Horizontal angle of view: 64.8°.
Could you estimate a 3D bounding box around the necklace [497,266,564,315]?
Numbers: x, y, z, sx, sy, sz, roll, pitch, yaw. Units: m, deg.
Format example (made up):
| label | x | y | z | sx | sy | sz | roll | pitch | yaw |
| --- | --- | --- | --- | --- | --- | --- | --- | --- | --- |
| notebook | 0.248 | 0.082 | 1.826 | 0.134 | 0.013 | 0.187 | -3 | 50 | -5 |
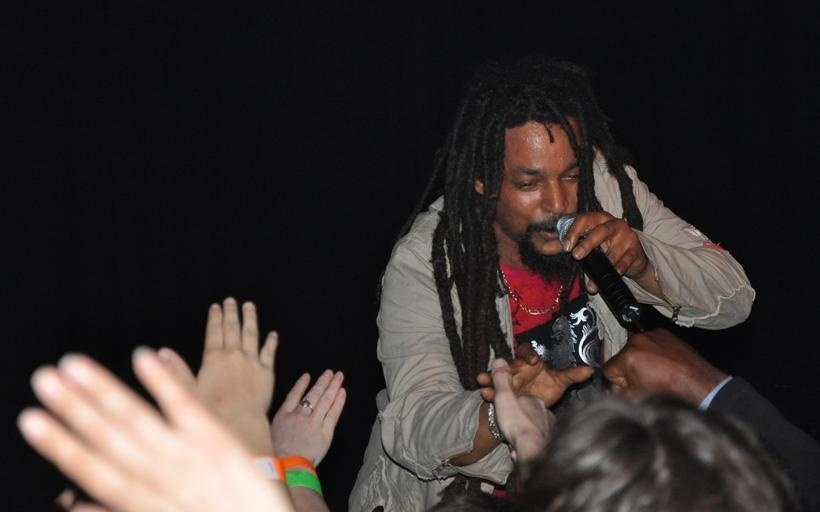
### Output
| label | x | y | z | sx | sy | sz | roll | pitch | yaw |
| --- | --- | --- | --- | --- | --- | --- | --- | --- | --- |
| necklace | 0.604 | 0.157 | 3.328 | 0.240 | 0.271 | 0.060 | -8 | 3 | 4 |
